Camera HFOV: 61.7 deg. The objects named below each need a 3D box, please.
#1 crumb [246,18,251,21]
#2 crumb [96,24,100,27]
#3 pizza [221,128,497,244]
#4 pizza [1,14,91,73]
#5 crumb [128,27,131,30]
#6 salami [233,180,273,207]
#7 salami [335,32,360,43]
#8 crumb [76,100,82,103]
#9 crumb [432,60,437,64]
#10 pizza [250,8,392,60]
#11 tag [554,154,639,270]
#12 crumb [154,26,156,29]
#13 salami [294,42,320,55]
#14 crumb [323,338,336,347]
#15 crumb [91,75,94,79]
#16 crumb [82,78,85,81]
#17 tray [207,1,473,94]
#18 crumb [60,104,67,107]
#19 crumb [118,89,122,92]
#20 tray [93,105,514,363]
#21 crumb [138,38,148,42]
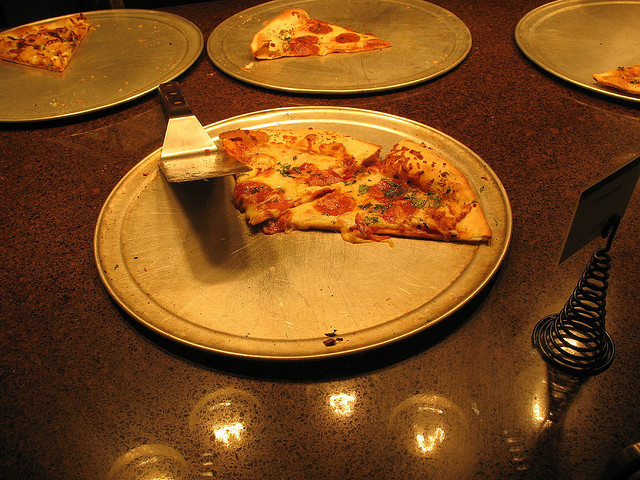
[{"bbox_3d":[-0.285,-0.887,2.167,0.008,0.002,0.021,41,39,-6],"label":"crumb"},{"bbox_3d":[-0.907,-0.868,2.178,0.011,0.003,0.011,6,51,0],"label":"crumb"},{"bbox_3d":[0.088,-0.130,1.381,0.555,0.063,0.330,-2,50,-3],"label":"pizza"},{"bbox_3d":[-1.006,-0.738,2.028,0.287,0.040,0.291,28,52,20],"label":"pizza"},{"bbox_3d":[-0.764,-0.844,2.146,0.009,0.002,0.009,2,50,0],"label":"crumb"},{"bbox_3d":[-0.176,-0.123,1.387,0.068,0.022,0.073,30,49,28],"label":"salami"},{"bbox_3d":[0.109,-0.748,2.005,0.065,0.008,0.048,3,44,3],"label":"salami"},{"bbox_3d":[-0.774,-0.444,1.720,0.012,0.004,0.010,19,37,-4],"label":"crumb"},{"bbox_3d":[0.404,-0.619,1.870,0.015,0.005,0.029,0,52,1],"label":"crumb"},{"bbox_3d":[-0.063,-0.874,2.137,0.613,0.197,0.437,-14,34,-21],"label":"pizza"},{"bbox_3d":[0.593,-0.049,1.143,0.282,0.190,0.011,-37,47,-15],"label":"tag"},{"bbox_3d":[-0.662,-0.849,2.149,0.009,0.008,0.008,-5,32,-16],"label":"crumb"},{"bbox_3d":[-0.049,-0.700,1.966,0.088,0.014,0.058,-3,53,-2],"label":"salami"},{"bbox_3d":[0.020,0.208,1.095,0.016,0.005,0.011,-11,48,-11],"label":"crumb"},{"bbox_3d":[-0.783,-0.558,1.845,0.008,0.005,0.027,-21,55,-15],"label":"crumb"},{"bbox_3d":[-0.812,-0.547,1.834,0.008,0.002,0.008,29,51,15],"label":"crumb"},{"bbox_3d":[0.080,-0.690,1.955,0.561,0.181,0.343,-13,36,-19],"label":"tray"},{"bbox_3d":[-0.817,-0.427,1.704,0.009,0.002,0.010,19,34,0],"label":"crumb"},{"bbox_3d":[-0.657,-0.489,1.762,0.013,0.003,0.020,-20,55,-14],"label":"crumb"},{"bbox_3d":[-0.036,-0.017,1.300,1.015,0.102,0.687,-5,53,-3],"label":"tray"},{"bbox_3d":[-0.684,-0.763,2.055,0.023,0.005,0.012,5,70,7],"label":"crumb"}]
